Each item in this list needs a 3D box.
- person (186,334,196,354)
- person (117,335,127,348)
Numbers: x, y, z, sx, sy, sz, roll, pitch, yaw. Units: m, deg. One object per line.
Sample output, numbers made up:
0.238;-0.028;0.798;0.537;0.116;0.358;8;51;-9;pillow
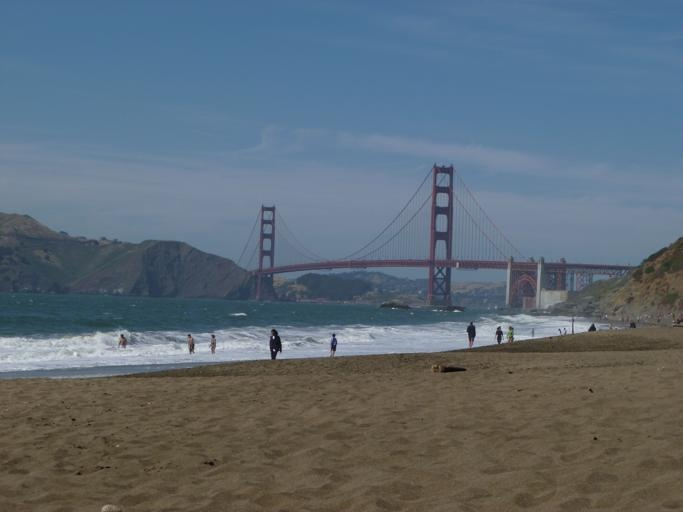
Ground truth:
-5.561;3.297;31.372;0.191;0.691;1.177;2;-2;-14;person
-8.296;3.262;32.021;0.269;0.548;1.474;2;-2;-14;person
